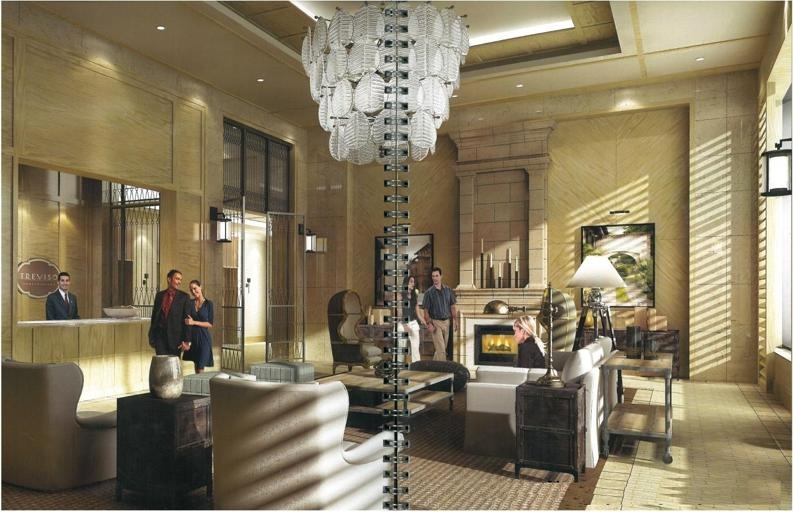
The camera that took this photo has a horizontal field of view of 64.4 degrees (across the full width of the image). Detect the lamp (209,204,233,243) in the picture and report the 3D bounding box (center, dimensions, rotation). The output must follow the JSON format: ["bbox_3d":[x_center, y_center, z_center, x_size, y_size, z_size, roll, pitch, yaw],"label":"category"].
[{"bbox_3d":[-3.151,-0.573,11.473,0.371,0.637,0.305,-5,3,4],"label":"lamp"}]

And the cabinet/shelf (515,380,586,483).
[{"bbox_3d":[1.750,2.081,7.388,0.819,0.877,0.591,2,-12,5],"label":"cabinet/shelf"}]

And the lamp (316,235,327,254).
[{"bbox_3d":[-1.604,-0.248,13.530,0.314,0.498,0.293,0,-1,-8],"label":"lamp"}]

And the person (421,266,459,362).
[{"bbox_3d":[0.800,1.065,11.497,0.632,1.639,0.760,1,9,6],"label":"person"}]

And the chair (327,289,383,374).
[{"bbox_3d":[-0.756,1.425,11.376,0.855,1.541,0.891,-3,9,-16],"label":"chair"}]

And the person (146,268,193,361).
[{"bbox_3d":[-3.276,0.877,9.076,0.597,1.291,0.422,-2,9,-13],"label":"person"}]

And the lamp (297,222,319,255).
[{"bbox_3d":[-1.821,-0.329,12.976,0.426,0.714,1.554,-1,8,-8],"label":"lamp"}]

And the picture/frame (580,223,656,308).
[{"bbox_3d":[3.914,0.196,10.883,1.803,1.821,0.073,-1,-6,20],"label":"picture/frame"}]

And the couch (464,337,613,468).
[{"bbox_3d":[1.828,1.773,7.974,1.581,0.973,1.580,-1,-7,23],"label":"couch"}]

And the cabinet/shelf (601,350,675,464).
[{"bbox_3d":[3.084,2.012,8.083,1.130,1.251,2.278,-2,-4,22],"label":"cabinet/shelf"}]

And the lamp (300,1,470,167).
[{"bbox_3d":[-0.053,-2.176,7.812,1.943,2.029,2.905,-2,8,-14],"label":"lamp"}]

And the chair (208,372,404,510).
[{"bbox_3d":[-1.028,1.860,6.631,1.497,1.633,1.564,-1,-4,32],"label":"chair"}]

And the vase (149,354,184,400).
[{"bbox_3d":[-2.518,1.322,6.817,0.364,0.405,0.421,0,-4,11],"label":"vase"}]

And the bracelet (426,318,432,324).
[{"bbox_3d":[0.604,1.204,11.478,0.082,0.113,0.078,1,-4,-9],"label":"bracelet"}]
